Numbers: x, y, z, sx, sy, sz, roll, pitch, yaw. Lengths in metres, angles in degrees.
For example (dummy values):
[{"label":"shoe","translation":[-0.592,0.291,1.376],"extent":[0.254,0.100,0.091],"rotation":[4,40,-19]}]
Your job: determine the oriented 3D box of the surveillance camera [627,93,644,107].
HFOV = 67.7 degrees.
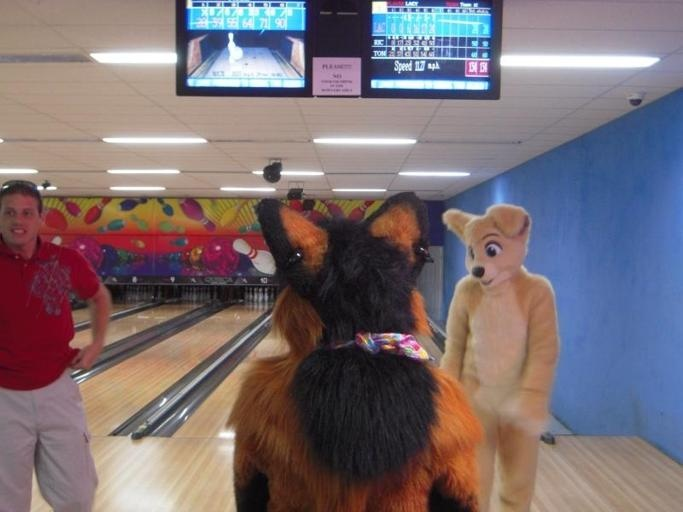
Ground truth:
[{"label":"surveillance camera","translation":[2.435,-1.285,4.214],"extent":[0.076,0.037,0.096],"rotation":[1,-5,14]}]
